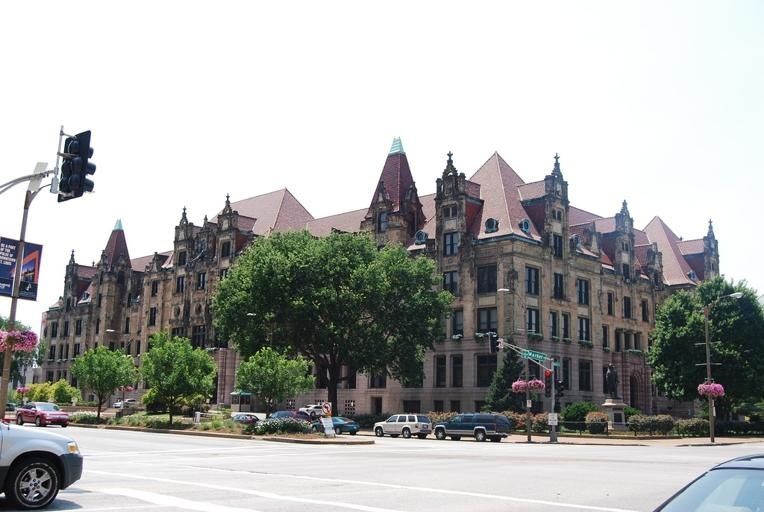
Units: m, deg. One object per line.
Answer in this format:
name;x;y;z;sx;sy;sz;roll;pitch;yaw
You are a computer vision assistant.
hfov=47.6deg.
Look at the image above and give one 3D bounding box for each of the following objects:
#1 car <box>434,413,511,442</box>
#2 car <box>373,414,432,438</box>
car;6.772;12.702;63.573;2.164;2.177;5.931;7;-10;-43
car;1.691;13.244;67.812;3.847;1.517;1.936;-1;-9;30
